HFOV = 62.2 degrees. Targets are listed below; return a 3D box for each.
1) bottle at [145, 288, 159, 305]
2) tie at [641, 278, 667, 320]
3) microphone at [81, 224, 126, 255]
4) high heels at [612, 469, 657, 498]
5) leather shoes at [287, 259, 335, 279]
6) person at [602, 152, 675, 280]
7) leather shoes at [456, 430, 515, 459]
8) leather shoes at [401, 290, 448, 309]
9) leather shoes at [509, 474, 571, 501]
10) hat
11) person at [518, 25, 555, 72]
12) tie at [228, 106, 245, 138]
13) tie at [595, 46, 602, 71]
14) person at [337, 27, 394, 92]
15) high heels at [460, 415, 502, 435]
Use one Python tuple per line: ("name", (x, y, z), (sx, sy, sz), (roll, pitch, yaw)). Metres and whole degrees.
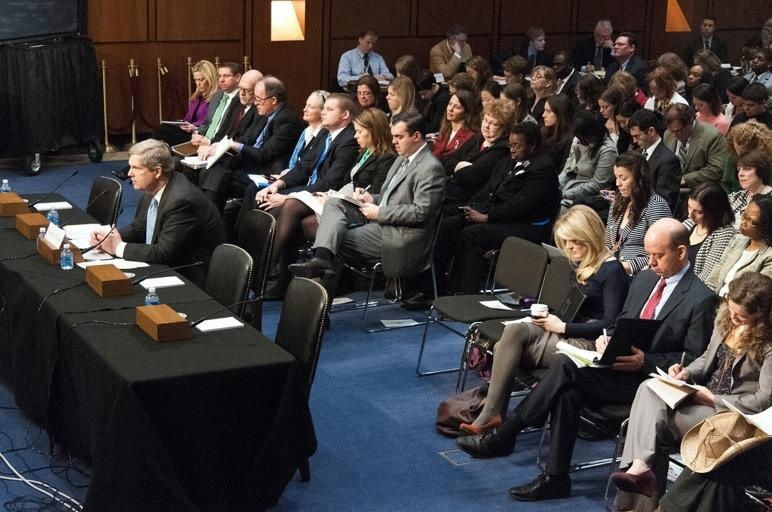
("bottle", (-1.353, 0.237, 3.678), (0.080, 0.130, 0.079), (6, 13, -1))
("tie", (1.538, 0.256, 3.681), (0.098, 0.035, 0.356), (21, 57, 23))
("microphone", (-1.976, -0.126, 4.578), (0.249, 0.181, 0.285), (-20, 22, -2))
("high heels", (1.232, 1.123, 3.165), (0.177, 0.069, 0.124), (20, 45, -2))
("leather shoes", (-0.609, 0.121, 5.260), (0.408, 0.176, 0.153), (9, -9, -12))
("person", (1.885, -0.299, 5.099), (0.709, 0.986, 0.692), (-5, 7, 2))
("leather shoes", (0.574, 1.109, 3.866), (0.354, 0.138, 0.156), (-2, 27, -5))
("leather shoes", (0.372, 0.410, 5.994), (0.473, 0.191, 0.159), (-7, 3, -18))
("leather shoes", (0.852, 1.265, 3.562), (0.367, 0.158, 0.132), (0, 4, -3))
("hat", (1.515, 0.841, 2.930), (0.405, 0.122, 0.233), (-32, 13, -8))
("person", (2.839, -3.886, 12.329), (0.851, 0.966, 0.656), (-4, 33, 1))
("tie", (-1.783, -1.595, 7.572), (0.084, 0.395, 0.281), (25, -13, -11))
("tie", (4.019, -3.737, 12.136), (0.119, 0.371, 0.073), (2, 16, 10))
("person", (-0.355, -3.400, 11.435), (0.991, 1.176, 0.891), (5, 24, -1))
("high heels", (0.572, 1.030, 3.937), (0.297, 0.124, 0.107), (-1, 1, 16))
